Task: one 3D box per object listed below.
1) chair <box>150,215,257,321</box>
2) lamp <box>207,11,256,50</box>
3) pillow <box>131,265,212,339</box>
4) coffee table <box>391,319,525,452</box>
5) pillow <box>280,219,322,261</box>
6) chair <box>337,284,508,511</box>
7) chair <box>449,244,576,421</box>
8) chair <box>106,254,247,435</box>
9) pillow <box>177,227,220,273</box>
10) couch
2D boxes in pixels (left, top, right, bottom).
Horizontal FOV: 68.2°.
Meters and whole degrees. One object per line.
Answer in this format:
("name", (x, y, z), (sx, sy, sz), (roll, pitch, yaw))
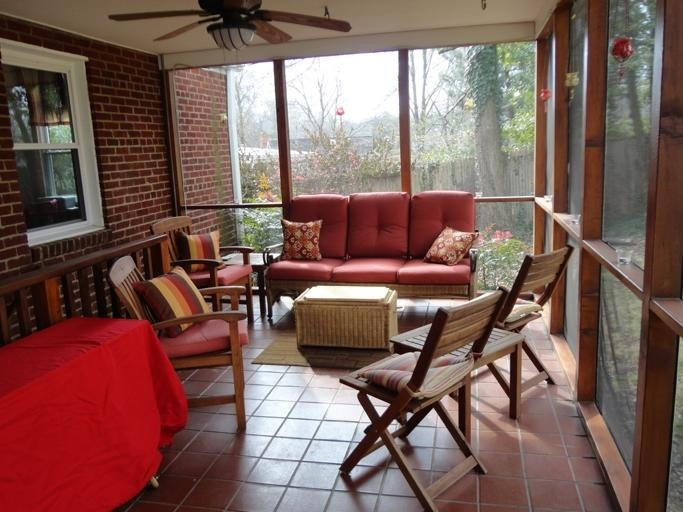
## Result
("chair", (-1.416, 0.193, 5.246), (0.838, 1.136, 0.920), (4, 11, 26))
("lamp", (-0.666, -1.449, 3.206), (0.248, 0.173, 0.249), (6, 10, 35))
("pillow", (-1.196, 0.294, 3.614), (0.149, 0.510, 0.541), (-34, -7, 28))
("coffee table", (0.706, 0.685, 3.300), (0.745, 0.671, 0.752), (3, 10, 37))
("pillow", (-0.424, -0.165, 5.465), (0.456, 0.440, 0.164), (1, -11, 4))
("chair", (0.577, 0.605, 3.227), (1.099, 1.527, 0.972), (9, 11, 42))
("chair", (1.131, 0.423, 3.586), (0.816, 0.971, 0.768), (4, 12, 26))
("chair", (-0.962, 0.535, 4.009), (1.126, 1.534, 1.151), (-4, 9, -5))
("pillow", (-1.488, -0.048, 5.221), (0.488, 0.448, 0.169), (-3, -20, -18))
("couch", (0.331, 0.001, 5.332), (2.164, 1.240, 0.841), (1, 13, 16))
